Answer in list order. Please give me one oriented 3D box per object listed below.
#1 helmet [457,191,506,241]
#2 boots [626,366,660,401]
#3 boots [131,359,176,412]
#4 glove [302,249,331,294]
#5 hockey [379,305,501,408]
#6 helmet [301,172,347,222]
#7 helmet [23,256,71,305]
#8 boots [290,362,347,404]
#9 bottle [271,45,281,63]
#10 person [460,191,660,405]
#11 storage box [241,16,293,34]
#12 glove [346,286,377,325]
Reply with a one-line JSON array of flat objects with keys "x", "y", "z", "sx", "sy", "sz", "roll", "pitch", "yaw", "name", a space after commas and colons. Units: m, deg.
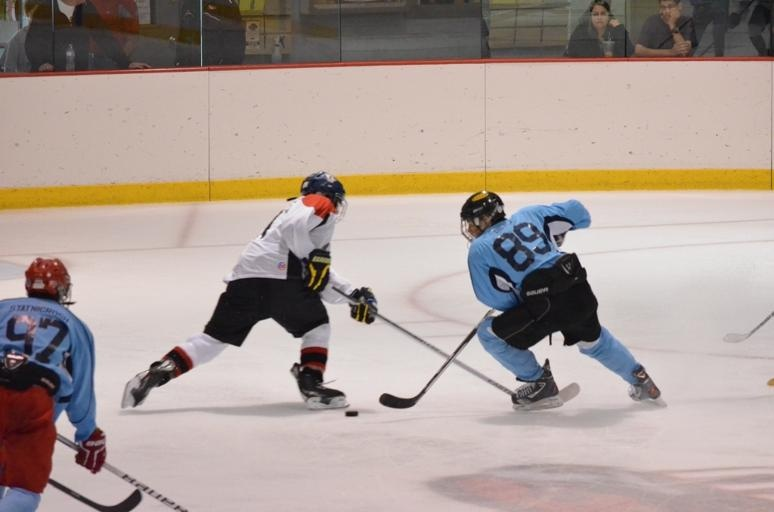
[{"x": 0.615, "y": -0.272, "z": 6.900, "sx": 0.388, "sy": 0.321, "sz": 0.285, "roll": -3, "pitch": 7, "yaw": 17, "name": "helmet"}, {"x": 1.632, "y": 0.825, "z": 6.683, "sx": 0.119, "sy": 0.203, "sz": 0.239, "roll": -25, "pitch": 11, "yaw": -38, "name": "boots"}, {"x": -1.529, "y": 0.814, "z": 6.642, "sx": 0.445, "sy": 0.153, "sz": 0.158, "roll": -35, "pitch": -2, "yaw": -33, "name": "boots"}, {"x": -0.453, "y": 0.105, "z": 6.808, "sx": 0.221, "sy": 0.247, "sz": 0.079, "roll": 0, "pitch": 16, "yaw": -37, "name": "glove"}, {"x": 0.369, "y": 0.722, "z": 7.137, "sx": 0.813, "sy": 0.263, "sz": 0.143, "roll": -43, "pitch": 34, "yaw": -14, "name": "hockey"}, {"x": -0.452, "y": -0.436, "z": 7.170, "sx": 0.383, "sy": 0.320, "sz": 0.304, "roll": -7, "pitch": 20, "yaw": -27, "name": "helmet"}, {"x": -1.954, "y": 0.151, "z": 6.099, "sx": 0.256, "sy": 0.274, "sz": 0.303, "roll": 3, "pitch": -4, "yaw": 4, "name": "helmet"}, {"x": -0.492, "y": 0.870, "z": 6.806, "sx": 0.488, "sy": 0.279, "sz": 0.154, "roll": 7, "pitch": -16, "yaw": -39, "name": "boots"}, {"x": -1.170, "y": -2.138, "z": 10.903, "sx": 0.125, "sy": 0.194, "sz": 0.055, "roll": 7, "pitch": 10, "yaw": 12, "name": "bottle"}, {"x": 1.059, "y": 0.296, "z": 6.764, "sx": 1.240, "sy": 1.366, "sz": 0.467, "roll": 5, "pitch": 10, "yaw": 2, "name": "person"}, {"x": -1.278, "y": -2.455, "z": 10.913, "sx": 0.639, "sy": 0.168, "sz": 0.120, "roll": 2, "pitch": 15, "yaw": 5, "name": "storage box"}, {"x": -0.164, "y": 0.344, "z": 7.078, "sx": 0.109, "sy": 0.224, "sz": 0.244, "roll": -13, "pitch": 50, "yaw": -47, "name": "glove"}]
